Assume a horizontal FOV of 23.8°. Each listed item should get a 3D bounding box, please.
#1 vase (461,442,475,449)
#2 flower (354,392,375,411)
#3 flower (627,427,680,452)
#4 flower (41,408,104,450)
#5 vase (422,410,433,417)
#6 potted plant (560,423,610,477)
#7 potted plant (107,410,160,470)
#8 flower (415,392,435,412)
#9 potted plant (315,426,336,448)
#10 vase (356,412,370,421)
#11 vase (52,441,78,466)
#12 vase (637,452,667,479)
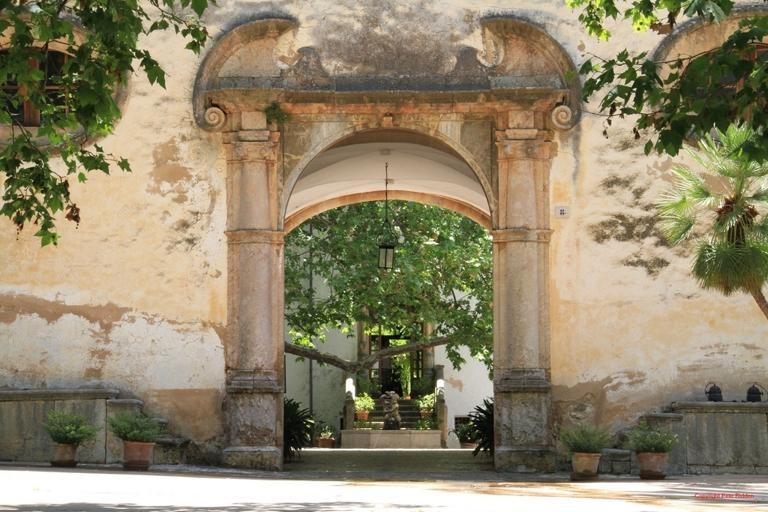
[{"bbox_3d":[1.760,4.008,38.298,0.206,0.112,0.195,1,-3,-7],"label":"vase"},{"bbox_3d":[-0.536,3.372,41.757,0.409,0.363,0.388,-10,-10,32],"label":"flower"},{"bbox_3d":[3.866,2.693,26.370,0.483,0.272,0.467,0,-1,6],"label":"flower"},{"bbox_3d":[-4.543,2.489,26.560,0.723,0.515,0.584,15,5,-1],"label":"flower"},{"bbox_3d":[0.955,3.624,41.596,0.229,0.123,0.072,-3,-11,10],"label":"vase"},{"bbox_3d":[2.878,2.837,26.124,0.660,0.790,0.379,-4,-11,14],"label":"potted plant"},{"bbox_3d":[-3.613,2.707,26.337,0.690,0.846,0.375,-1,-11,-7],"label":"potted plant"},{"bbox_3d":[0.964,3.397,41.931,0.405,0.439,0.638,-1,-10,-2],"label":"flower"},{"bbox_3d":[-1.275,4.080,40.212,0.446,0.385,0.323,0,-1,-10],"label":"potted plant"},{"bbox_3d":[-0.510,3.674,41.460,0.242,0.152,0.231,-1,-6,6],"label":"vase"},{"bbox_3d":[-4.630,2.900,26.463,0.379,0.280,0.351,3,-12,-13],"label":"vase"},{"bbox_3d":[3.870,3.075,26.325,0.441,0.302,0.405,0,-19,3],"label":"vase"}]
